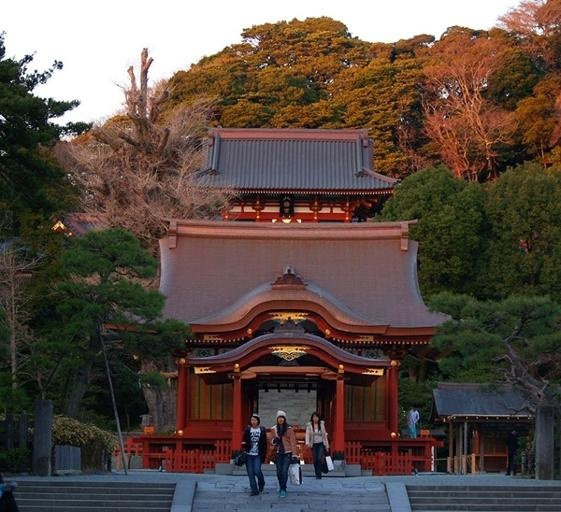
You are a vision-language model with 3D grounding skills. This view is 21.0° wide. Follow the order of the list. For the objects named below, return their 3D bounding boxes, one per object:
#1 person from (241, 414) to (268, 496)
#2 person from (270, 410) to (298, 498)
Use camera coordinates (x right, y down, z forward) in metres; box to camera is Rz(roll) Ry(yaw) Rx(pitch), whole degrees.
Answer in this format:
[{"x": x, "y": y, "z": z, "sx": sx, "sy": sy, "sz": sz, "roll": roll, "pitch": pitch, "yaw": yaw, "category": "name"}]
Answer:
[{"x": -0.712, "y": 5.263, "z": 39.708, "sx": 0.629, "sy": 2.098, "sz": 1.296, "roll": -1, "pitch": -14, "yaw": -1, "category": "person"}, {"x": 0.056, "y": 5.238, "z": 39.658, "sx": 0.619, "sy": 2.220, "sz": 1.254, "roll": -1, "pitch": -14, "yaw": -1, "category": "person"}]
